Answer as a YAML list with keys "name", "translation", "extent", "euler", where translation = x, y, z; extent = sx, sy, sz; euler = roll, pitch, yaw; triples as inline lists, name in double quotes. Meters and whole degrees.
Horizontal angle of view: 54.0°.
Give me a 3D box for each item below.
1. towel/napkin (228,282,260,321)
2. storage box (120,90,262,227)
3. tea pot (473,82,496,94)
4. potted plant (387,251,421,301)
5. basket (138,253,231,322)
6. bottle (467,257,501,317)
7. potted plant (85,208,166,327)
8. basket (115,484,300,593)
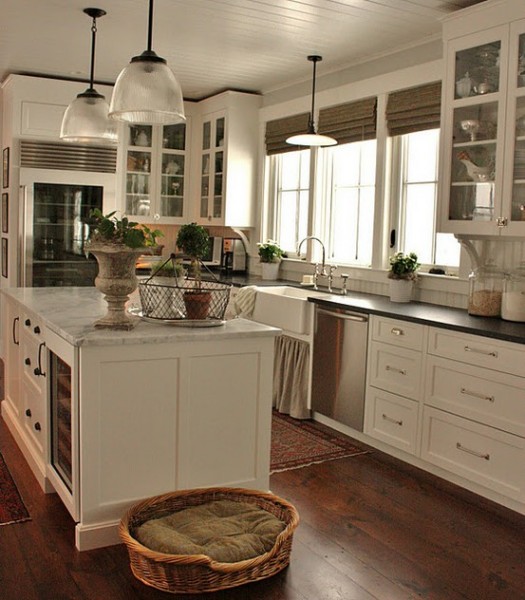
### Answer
- name: "towel/napkin"
  translation: [-0.168, 0.026, 4.165]
  extent: [0.065, 0.254, 0.277]
  euler: [7, 0, -29]
- name: "storage box"
  translation: [-0.812, -1.498, 5.754]
  extent: [1.614, 1.381, 0.653]
  euler: [7, 10, 25]
- name: "tea pot"
  translation: [1.182, -1.119, 2.730]
  extent: [0.078, 0.040, 0.077]
  euler: [-2, 31, 1]
- name: "potted plant"
  translation: [0.971, -0.137, 3.492]
  extent: [0.207, 0.304, 0.219]
  euler: [-5, 13, -36]
- name: "basket"
  translation: [-0.367, -0.084, 2.352]
  extent: [0.337, 0.290, 0.467]
  euler: [0, 6, -16]
- name: "bottle"
  translation: [1.289, -0.053, 2.969]
  extent: [0.181, 0.276, 0.173]
  euler: [2, 5, 0]
- name: "potted plant"
  translation: [-0.575, -0.131, 2.121]
  extent: [0.297, 0.486, 0.354]
  euler: [2, 2, -19]
- name: "basket"
  translation: [-0.170, 0.846, 1.813]
  extent: [0.649, 0.192, 0.500]
  euler: [1, 2, -38]
